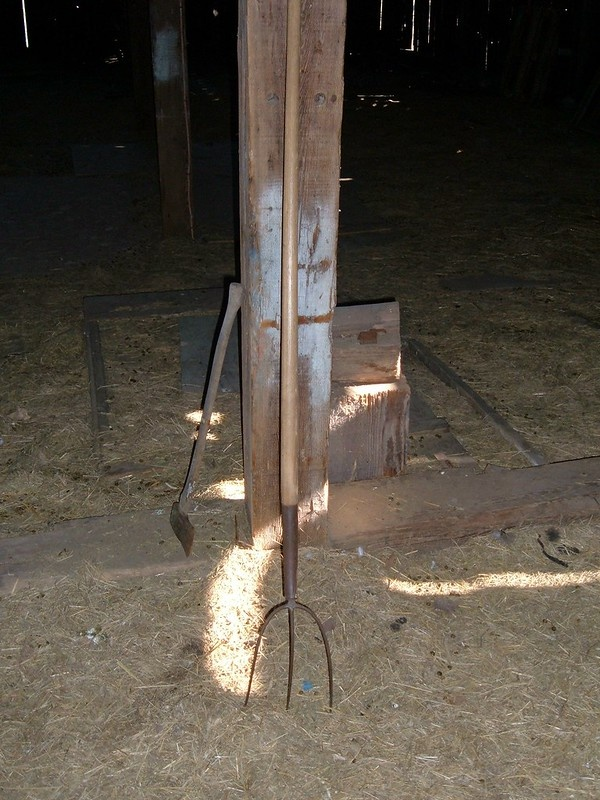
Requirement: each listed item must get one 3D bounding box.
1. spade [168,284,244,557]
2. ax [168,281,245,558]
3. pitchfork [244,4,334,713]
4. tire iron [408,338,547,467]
[{"bbox_3d":[-0.334,0.010,2.515,0.401,0.924,0.358,-3,32,-9],"label":"spade"},{"bbox_3d":[-0.336,0.034,2.551,0.415,0.949,0.370,-3,32,-10],"label":"ax"},{"bbox_3d":[0.021,-0.041,1.901,0.250,1.786,0.620,4,28,3],"label":"pitchfork"},{"bbox_3d":[0.850,-0.056,4.057,0.174,0.086,1.707,2,26,-16],"label":"tire iron"}]
